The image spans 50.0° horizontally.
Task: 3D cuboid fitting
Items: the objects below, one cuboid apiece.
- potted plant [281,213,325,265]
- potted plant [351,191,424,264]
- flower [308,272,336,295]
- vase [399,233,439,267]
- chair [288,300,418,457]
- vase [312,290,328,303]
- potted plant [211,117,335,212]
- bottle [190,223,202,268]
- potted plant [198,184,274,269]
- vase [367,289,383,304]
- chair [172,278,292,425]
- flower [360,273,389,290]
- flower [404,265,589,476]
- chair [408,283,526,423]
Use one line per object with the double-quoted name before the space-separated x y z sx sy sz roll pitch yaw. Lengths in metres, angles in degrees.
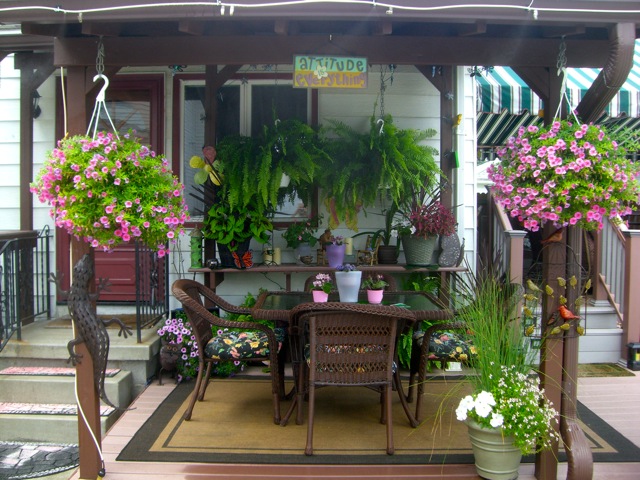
"potted plant" -0.177 -0.007 6.821 0.369 0.470 0.445 1 -5 -4
"potted plant" 0.708 -0.071 6.935 0.362 0.407 0.477 -15 8 -34
"flower" 0.043 0.341 5.529 0.176 0.157 0.185 1 6 -7
"vase" 0.992 0.095 6.643 0.446 0.350 0.437 6 -3 -39
"chair" 0.213 1.051 5.268 1.059 1.334 0.977 1 1 1
"vase" 0.003 0.444 5.459 0.089 0.070 0.093 0 -3 -2
"potted plant" -0.433 -0.872 6.455 0.865 0.563 0.906 -11 17 -8
"bottle" -1.198 0.069 6.631 0.137 0.389 0.129 3 16 -1
"potted plant" -0.758 -0.136 6.625 0.691 0.754 0.703 2 2 43
"vase" 0.445 0.453 5.495 0.107 0.090 0.113 1 -5 9
"chair" -0.705 0.855 5.820 0.969 1.217 1.042 0 2 -1
"flower" 0.422 0.347 5.524 0.201 0.127 0.207 -3 -4 36
"flower" 1.250 0.894 4.767 0.795 1.323 1.295 -9 16 -33
"chair" 1.001 0.866 5.290 0.896 1.341 0.986 2 -5 5
